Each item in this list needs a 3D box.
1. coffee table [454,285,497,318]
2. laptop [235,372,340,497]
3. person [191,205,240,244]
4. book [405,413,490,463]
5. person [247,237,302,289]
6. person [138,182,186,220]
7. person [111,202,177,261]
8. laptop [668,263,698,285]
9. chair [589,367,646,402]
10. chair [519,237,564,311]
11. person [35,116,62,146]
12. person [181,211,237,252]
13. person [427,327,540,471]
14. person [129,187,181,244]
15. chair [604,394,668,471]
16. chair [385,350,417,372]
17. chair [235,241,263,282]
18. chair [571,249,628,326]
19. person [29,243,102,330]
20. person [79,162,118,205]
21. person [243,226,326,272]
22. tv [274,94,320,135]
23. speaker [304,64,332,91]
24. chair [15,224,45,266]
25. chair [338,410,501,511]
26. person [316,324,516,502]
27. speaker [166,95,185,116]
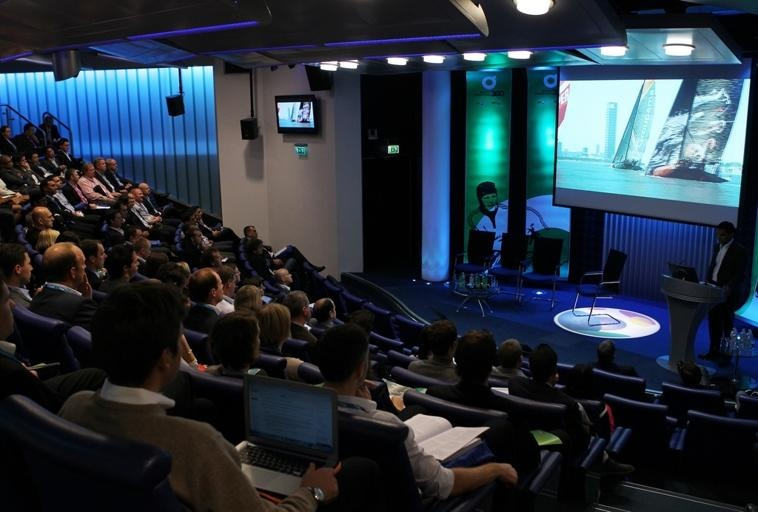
[{"bbox_3d":[1.667,0.766,9.135,0.550,0.242,0.523,-1,7,-14],"label":"coffee table"},{"bbox_3d":[-0.410,0.800,2.463,0.642,0.418,0.423,8,-14,15],"label":"laptop"},{"bbox_3d":[-3.535,-0.684,11.533,0.695,1.135,0.392,-19,49,-6],"label":"person"},{"bbox_3d":[0.328,0.952,2.797,0.311,0.080,0.302,-13,19,-43],"label":"book"},{"bbox_3d":[-1.701,0.119,8.695,0.539,0.912,0.383,-30,43,2],"label":"person"},{"bbox_3d":[-4.997,-1.104,11.985,0.712,1.206,0.503,-17,24,-8],"label":"person"},{"bbox_3d":[-4.621,-0.727,10.843,0.859,1.449,0.617,-3,31,1],"label":"person"},{"bbox_3d":[3.972,0.153,6.849,0.260,0.291,0.316,-24,22,-27],"label":"laptop"},{"bbox_3d":[2.322,1.261,5.145,0.282,0.382,0.320,22,52,30],"label":"chair"},{"bbox_3d":[3.039,0.211,9.818,0.697,1.163,1.489,7,11,18],"label":"chair"},{"bbox_3d":[-9.337,-3.599,14.941,0.518,0.787,1.004,-3,12,-32],"label":"person"},{"bbox_3d":[-2.895,-0.302,9.197,0.909,0.478,1.449,-13,-11,-7],"label":"person"},{"bbox_3d":[0.627,0.882,3.227,0.713,0.774,0.471,6,8,38],"label":"person"},{"bbox_3d":[-4.589,-0.702,10.669,0.873,1.454,0.626,-11,30,-19],"label":"person"},{"bbox_3d":[2.358,1.535,5.023,0.578,0.645,0.654,5,17,31],"label":"chair"},{"bbox_3d":[0.190,0.884,4.589,0.193,0.188,0.195,-14,24,-42],"label":"chair"},{"bbox_3d":[-1.977,0.083,8.099,0.252,0.295,0.746,-20,65,-17],"label":"chair"},{"bbox_3d":[3.891,0.383,9.289,0.755,1.137,2.237,8,11,24],"label":"chair"},{"bbox_3d":[-2.513,0.205,4.237,0.848,0.575,0.419,13,16,33],"label":"person"},{"bbox_3d":[-6.008,-1.519,11.315,0.776,0.935,0.730,4,15,13],"label":"person"},{"bbox_3d":[-1.733,-0.143,10.108,0.848,0.981,0.418,-23,34,-16],"label":"person"},{"bbox_3d":[-1.646,-2.956,10.890,0.937,0.647,0.101,6,14,29],"label":"tv"},{"bbox_3d":[-1.181,-3.499,10.365,0.892,0.457,0.469,4,15,12],"label":"speaker"},{"bbox_3d":[-3.981,-0.135,6.046,0.195,0.212,0.590,-24,45,-34],"label":"chair"},{"bbox_3d":[0.177,0.910,2.543,0.359,0.557,0.588,6,11,40],"label":"chair"},{"bbox_3d":[0.195,0.748,2.813,0.956,1.027,0.790,-7,5,-37],"label":"person"},{"bbox_3d":[-4.839,-3.639,12.609,0.327,0.502,0.580,1,11,-14],"label":"speaker"}]
